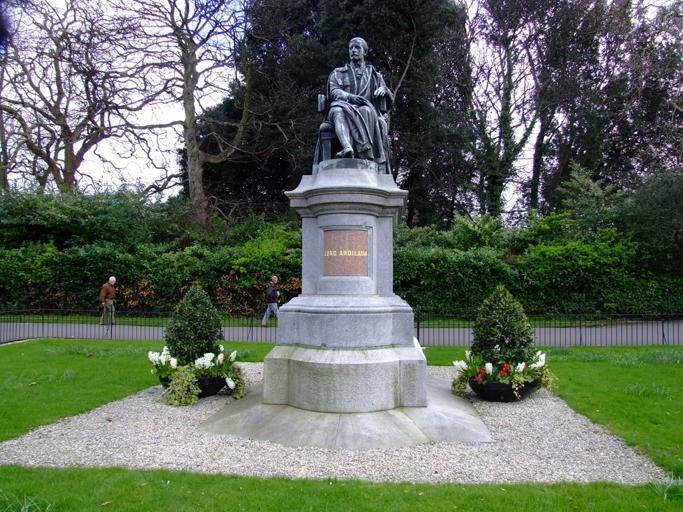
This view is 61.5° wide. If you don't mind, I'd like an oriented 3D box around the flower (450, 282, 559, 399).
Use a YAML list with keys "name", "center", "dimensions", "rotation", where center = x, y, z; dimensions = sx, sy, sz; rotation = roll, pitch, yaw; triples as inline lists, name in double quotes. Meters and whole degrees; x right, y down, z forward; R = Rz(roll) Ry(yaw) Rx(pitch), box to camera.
- name: "flower"
  center: [3.303, 1.814, 11.933]
  dimensions: [1.833, 2.399, 0.881]
  rotation: [-2, -3, 16]

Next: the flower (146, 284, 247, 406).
- name: "flower"
  center: [-3.013, 1.817, 11.864]
  dimensions: [1.742, 2.366, 0.783]
  rotation: [0, -3, -18]

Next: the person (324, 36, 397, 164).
- name: "person"
  center: [0.340, -3.329, 12.365]
  dimensions: [1.425, 3.044, 0.944]
  rotation: [1, -3, -37]
